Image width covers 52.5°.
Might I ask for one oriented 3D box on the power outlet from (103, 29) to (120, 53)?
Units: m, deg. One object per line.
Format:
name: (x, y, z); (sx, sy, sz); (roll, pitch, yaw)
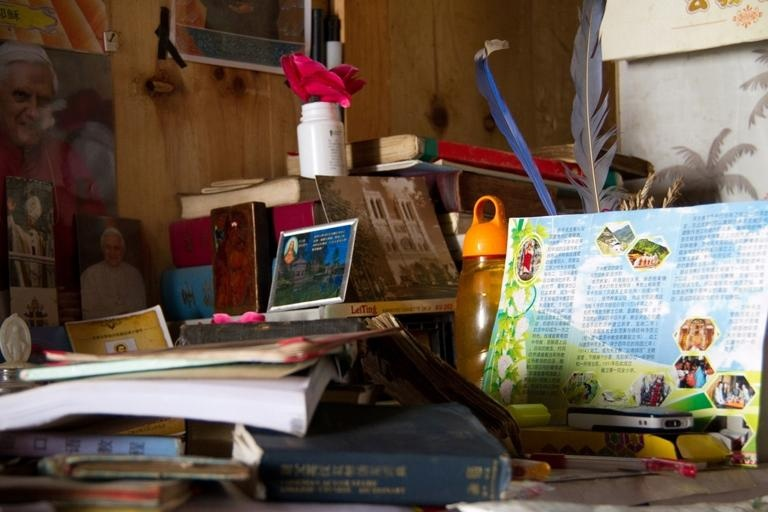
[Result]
power outlet: (-0.559, -0.441, 1.597); (0.014, 0.037, 0.041); (3, 2, 43)

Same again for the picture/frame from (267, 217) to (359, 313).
picture/frame: (-0.113, 0.017, 1.313); (0.181, 0.148, 0.015); (-3, -33, 38)
